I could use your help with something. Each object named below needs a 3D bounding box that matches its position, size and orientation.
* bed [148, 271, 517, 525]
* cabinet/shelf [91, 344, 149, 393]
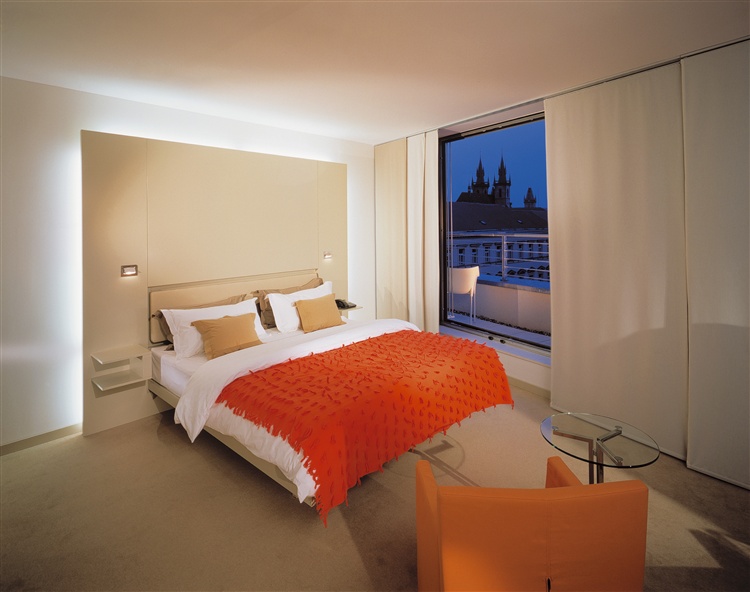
[{"bbox_3d":[-0.675,0.670,4.073,2.020,0.971,1.948,7,11,42],"label":"bed"},{"bbox_3d":[-2.232,0.640,4.494,0.340,0.504,0.477,6,7,44],"label":"cabinet/shelf"}]
